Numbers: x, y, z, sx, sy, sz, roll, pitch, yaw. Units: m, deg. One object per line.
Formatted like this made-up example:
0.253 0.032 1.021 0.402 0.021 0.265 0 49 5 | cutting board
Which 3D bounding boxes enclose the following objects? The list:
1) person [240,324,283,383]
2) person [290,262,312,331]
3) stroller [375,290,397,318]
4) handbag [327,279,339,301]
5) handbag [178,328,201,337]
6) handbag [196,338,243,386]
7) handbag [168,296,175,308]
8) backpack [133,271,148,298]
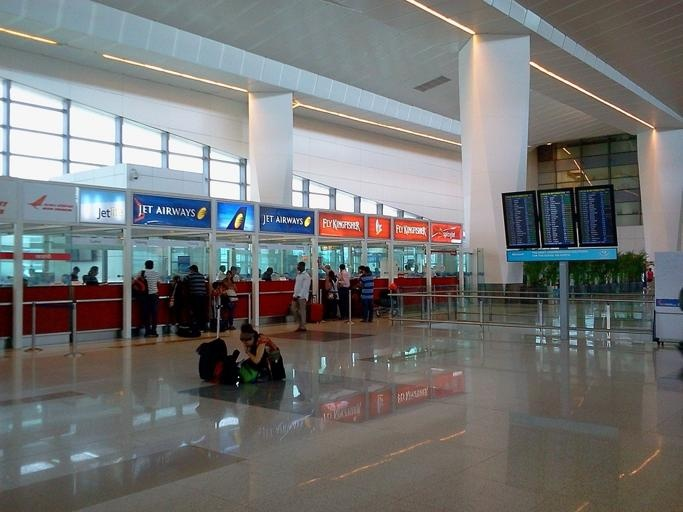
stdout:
-1.284 1.523 8.339 0.880 0.914 0.818 4 -2 10 | person
-1.206 1.113 14.984 0.525 1.919 0.987 -2 -2 2 | person
1.519 1.638 17.981 0.917 1.009 0.887 1 -1 11 | stroller
-0.333 1.094 16.700 0.338 0.668 0.525 -2 -2 6 | handbag
-3.939 1.943 13.319 0.435 0.146 0.257 3 -5 -1 | handbag
-1.996 1.660 8.118 0.733 0.655 0.613 -5 -7 38 | handbag
-4.440 1.191 13.489 0.208 0.353 0.203 4 -6 -29 | handbag
-5.009 0.687 12.849 0.348 0.667 0.186 -1 -3 -26 | backpack
